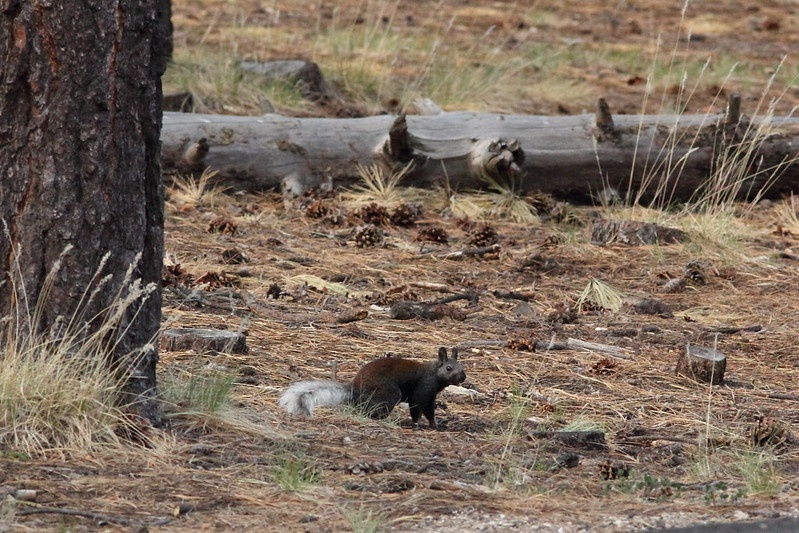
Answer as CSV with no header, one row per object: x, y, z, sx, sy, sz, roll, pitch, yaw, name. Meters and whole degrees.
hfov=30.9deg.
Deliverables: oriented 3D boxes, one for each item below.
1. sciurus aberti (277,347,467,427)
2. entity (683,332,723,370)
-0.219,1.100,12.981,1.953,0.746,0.597,-2,13,-16,sciurus aberti
2.922,0.792,13.858,0.321,0.245,0.743,9,14,12,entity
